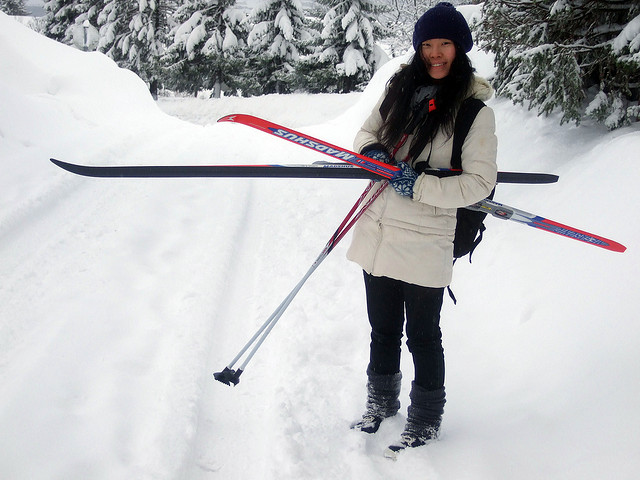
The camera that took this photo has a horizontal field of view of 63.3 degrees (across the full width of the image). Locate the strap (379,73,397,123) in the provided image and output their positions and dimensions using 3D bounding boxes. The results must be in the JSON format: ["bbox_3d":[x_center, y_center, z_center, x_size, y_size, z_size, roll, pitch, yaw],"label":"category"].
[{"bbox_3d":[0.462,-0.945,3.599,0.059,0.438,0.061,25,26,33],"label":"strap"}]

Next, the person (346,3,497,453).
[{"bbox_3d":[0.605,-0.020,3.523,0.884,2.641,1.477,7,33,0],"label":"person"}]

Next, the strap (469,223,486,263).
[{"bbox_3d":[1.284,0.037,4.274,0.073,0.104,0.372,18,70,-7],"label":"strap"}]

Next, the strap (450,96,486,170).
[{"bbox_3d":[0.921,-0.688,3.361,0.147,0.401,0.226,17,34,15],"label":"strap"}]
